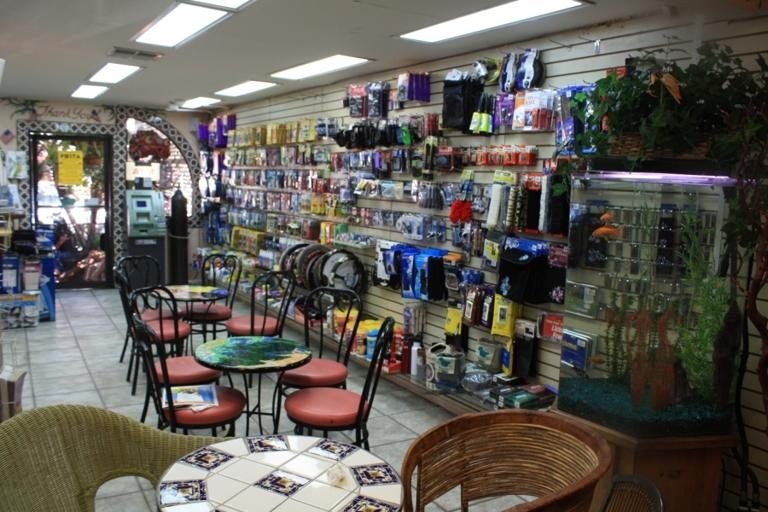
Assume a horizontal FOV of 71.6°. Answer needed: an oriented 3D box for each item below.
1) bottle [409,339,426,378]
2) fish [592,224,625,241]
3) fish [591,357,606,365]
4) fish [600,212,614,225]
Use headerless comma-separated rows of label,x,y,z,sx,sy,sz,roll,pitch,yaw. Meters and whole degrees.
bottle,0.346,1.074,5.517,0.147,0.338,0.256,1,9,2
fish,1.410,-0.140,3.348,0.161,0.093,0.067,5,6,43
fish,1.383,0.676,3.444,0.029,0.052,0.100,-4,8,-44
fish,1.418,-0.242,3.384,0.077,0.073,0.051,-2,1,14
